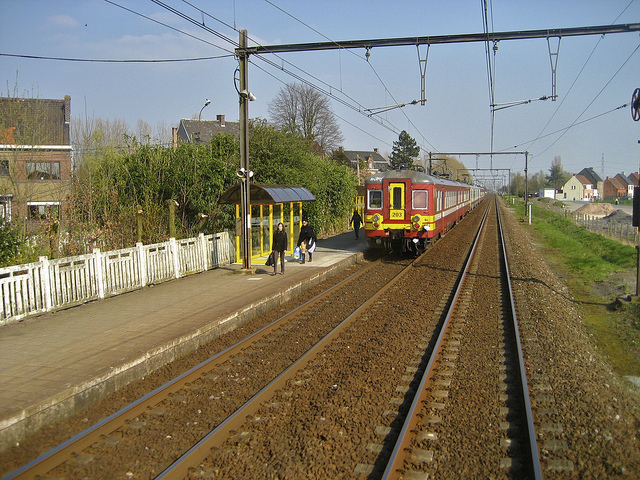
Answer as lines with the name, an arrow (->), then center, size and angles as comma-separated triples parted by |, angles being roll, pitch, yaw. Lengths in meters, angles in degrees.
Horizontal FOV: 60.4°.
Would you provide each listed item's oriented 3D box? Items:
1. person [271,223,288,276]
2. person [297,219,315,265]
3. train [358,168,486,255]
person -> -1.309, 0.221, 17.420 | 0.457, 1.721, 1.687 | 0, 11, -5
person -> -0.493, 0.061, 19.009 | 0.486, 1.569, 0.444 | -3, -29, 6
train -> 5.466, -1.393, 28.144 | 2.956, 2.938, 14.861 | 1, 3, 19
